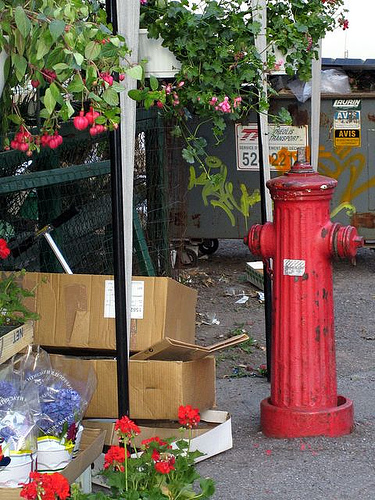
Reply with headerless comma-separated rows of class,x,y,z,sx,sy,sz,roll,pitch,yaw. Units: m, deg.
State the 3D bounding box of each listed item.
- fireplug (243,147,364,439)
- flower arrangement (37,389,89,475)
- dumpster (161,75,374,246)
fireplug,0.632,0.221,2.583,0.605,1.575,0.339,-4,2,8
flower arrangement,-0.451,0.644,1.731,0.162,0.251,0.332,-5,2,-11
dumpster,0.929,-1.034,5.060,2.933,1.781,1.514,-1,0,-6
